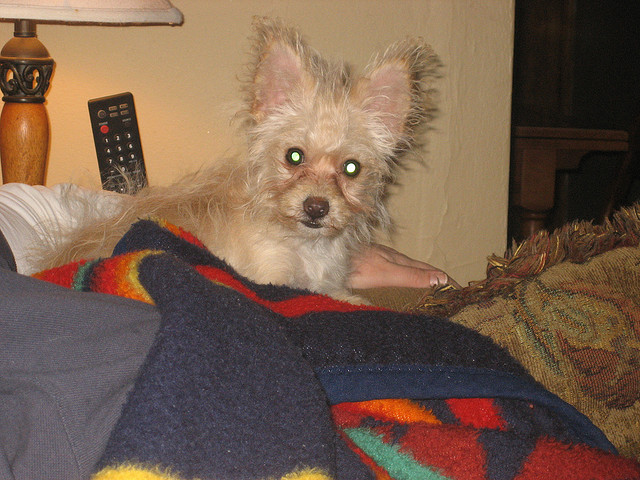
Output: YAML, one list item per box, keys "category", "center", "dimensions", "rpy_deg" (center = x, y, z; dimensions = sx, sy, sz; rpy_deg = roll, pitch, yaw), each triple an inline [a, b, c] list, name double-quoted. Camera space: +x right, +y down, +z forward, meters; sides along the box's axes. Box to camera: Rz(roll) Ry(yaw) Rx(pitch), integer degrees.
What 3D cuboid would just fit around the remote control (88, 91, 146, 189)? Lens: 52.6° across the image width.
- category: "remote control"
  center: [-0.589, -0.293, 1.884]
  dimensions: [0.147, 0.263, 0.074]
  rpy_deg: [-3, 13, -20]
